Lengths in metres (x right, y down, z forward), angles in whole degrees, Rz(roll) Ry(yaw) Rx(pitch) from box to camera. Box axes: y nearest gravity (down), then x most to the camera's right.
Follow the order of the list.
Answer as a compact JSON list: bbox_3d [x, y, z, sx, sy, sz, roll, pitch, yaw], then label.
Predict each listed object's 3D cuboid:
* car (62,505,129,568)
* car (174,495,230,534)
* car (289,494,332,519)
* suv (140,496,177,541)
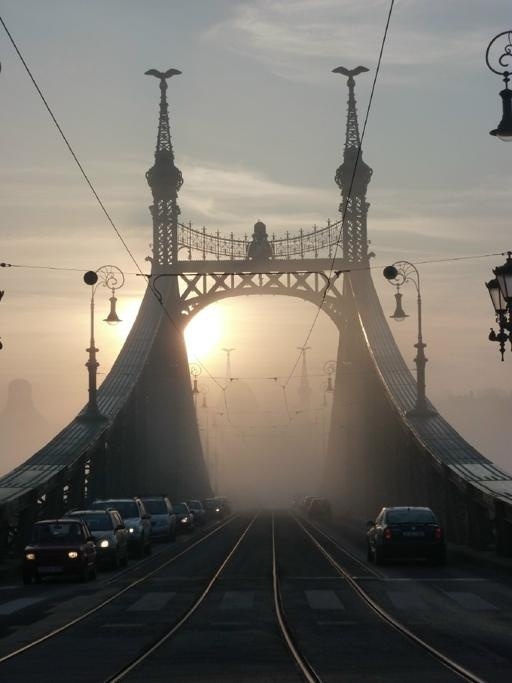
[{"bbox_3d":[-3.007,3.763,24.541,0.756,0.673,1.575,-1,-16,1],"label":"car"},{"bbox_3d":[-2.426,7.007,52.297,1.466,1.142,3.374,-4,-11,7],"label":"car"},{"bbox_3d":[2.900,8.285,62.971,1.128,1.319,9.056,0,-10,-1],"label":"car"},{"bbox_3d":[-3.046,5.024,37.270,0.923,1.019,2.210,1,6,-7],"label":"suv"}]
